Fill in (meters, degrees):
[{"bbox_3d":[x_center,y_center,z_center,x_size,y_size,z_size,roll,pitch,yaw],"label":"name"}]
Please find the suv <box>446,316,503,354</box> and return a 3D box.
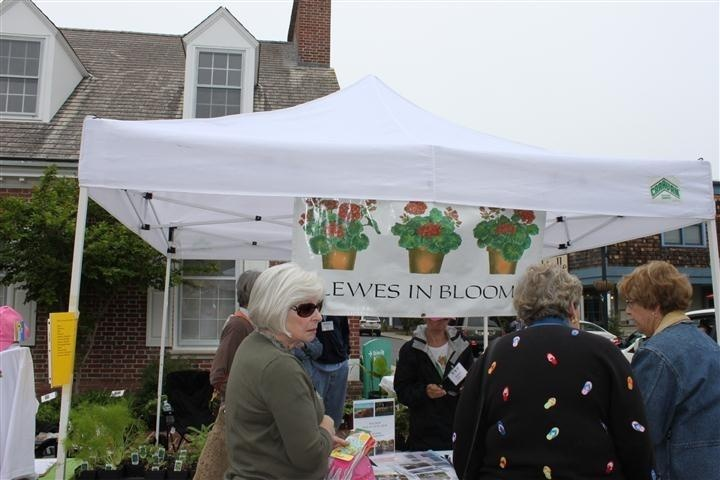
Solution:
[{"bbox_3d":[3.645,3.160,22.498,1.324,1.355,2.887,0,-14,-4],"label":"suv"}]
